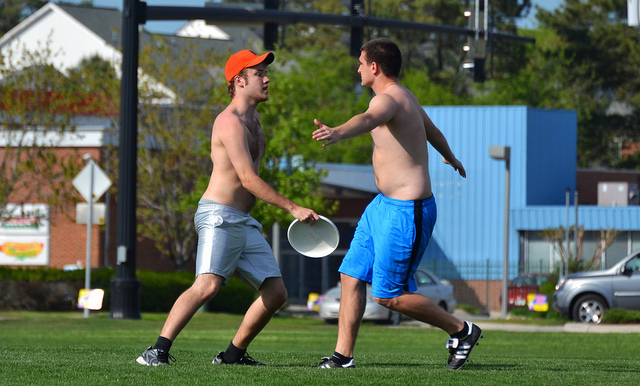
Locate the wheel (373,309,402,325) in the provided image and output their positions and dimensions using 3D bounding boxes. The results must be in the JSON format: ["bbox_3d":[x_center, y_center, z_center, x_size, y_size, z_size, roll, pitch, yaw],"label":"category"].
[{"bbox_3d":[2.041,3.499,40.561,0.634,0.501,1.075,-4,-7,29],"label":"wheel"}]

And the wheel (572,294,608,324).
[{"bbox_3d":[6.524,2.793,35.188,0.971,0.688,0.700,-2,-7,30],"label":"wheel"}]
